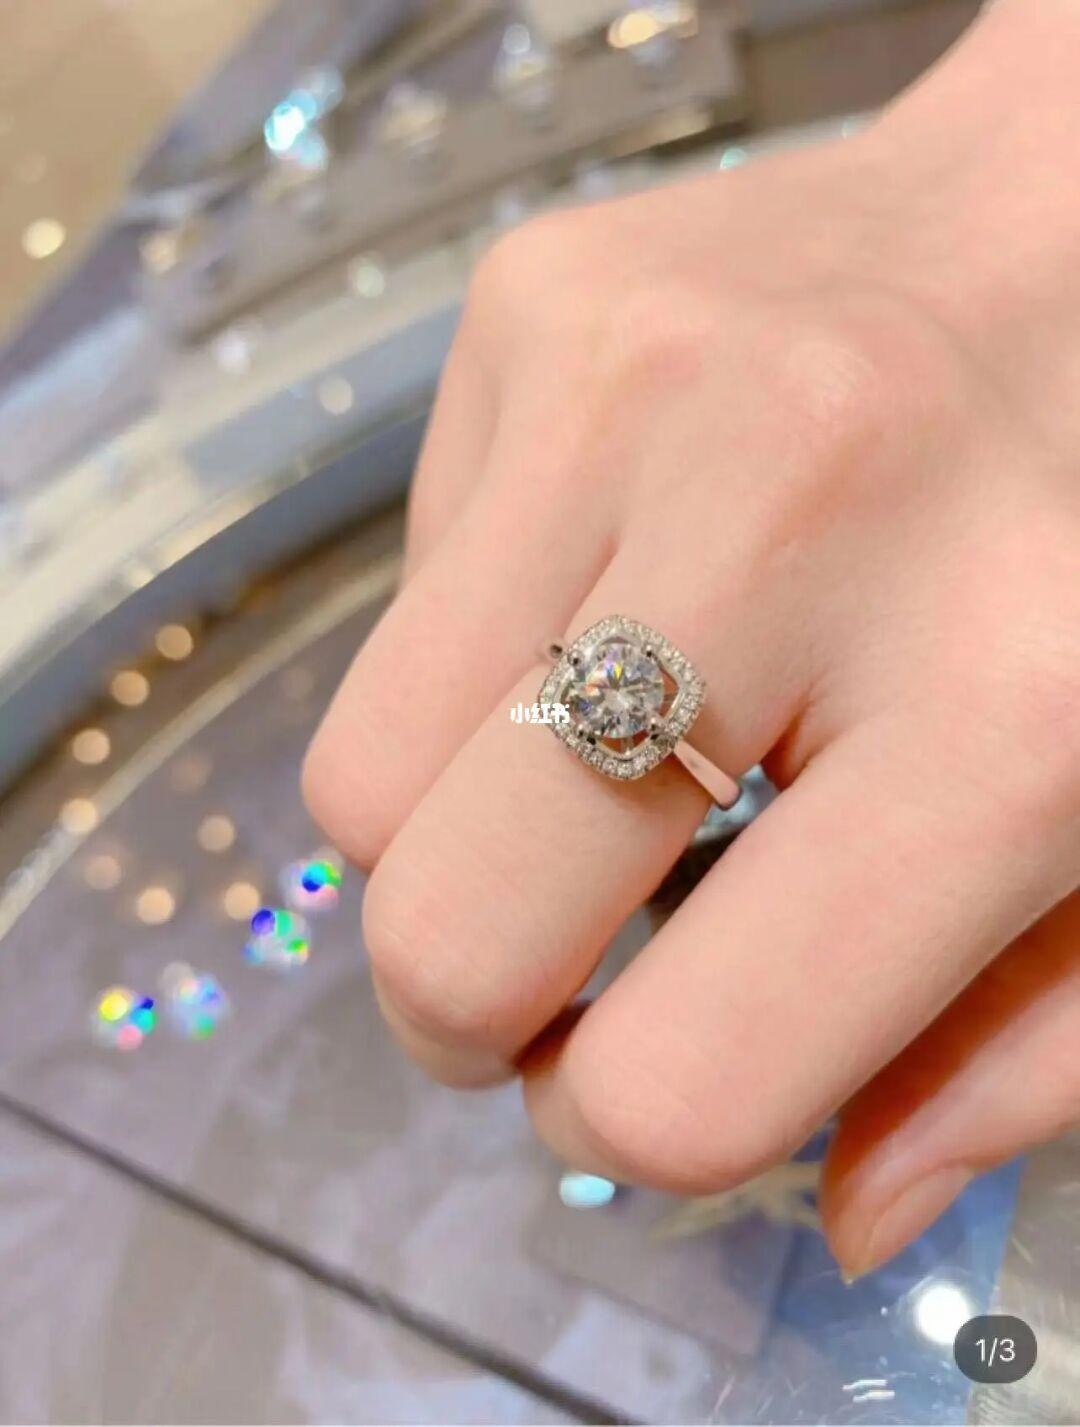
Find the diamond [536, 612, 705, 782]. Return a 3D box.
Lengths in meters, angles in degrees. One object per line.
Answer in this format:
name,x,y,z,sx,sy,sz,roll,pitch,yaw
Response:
diamond,0.035,-0.007,0.654,0.072,0.041,0.074,25,63,21

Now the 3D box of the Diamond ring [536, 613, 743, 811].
Diamond ring,0.047,0.000,0.653,0.073,0.079,0.042,38,96,19
